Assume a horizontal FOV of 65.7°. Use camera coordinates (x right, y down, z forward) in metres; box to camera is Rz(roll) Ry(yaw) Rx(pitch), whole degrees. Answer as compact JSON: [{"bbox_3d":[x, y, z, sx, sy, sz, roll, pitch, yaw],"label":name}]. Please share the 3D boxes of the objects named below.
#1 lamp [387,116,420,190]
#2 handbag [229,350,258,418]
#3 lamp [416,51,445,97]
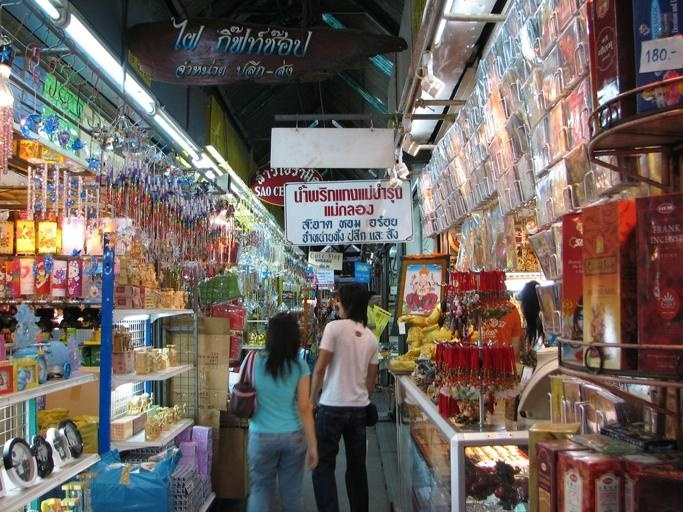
[{"bbox_3d":[0.563,-0.974,4.944,0.313,0.391,0.909,-10,7,10],"label":"lamp"},{"bbox_3d":[-0.655,0.910,3.626,0.208,0.375,0.336,-11,6,-2],"label":"handbag"},{"bbox_3d":[0.637,-1.308,3.826,0.163,0.159,0.558,-10,7,14],"label":"lamp"}]
